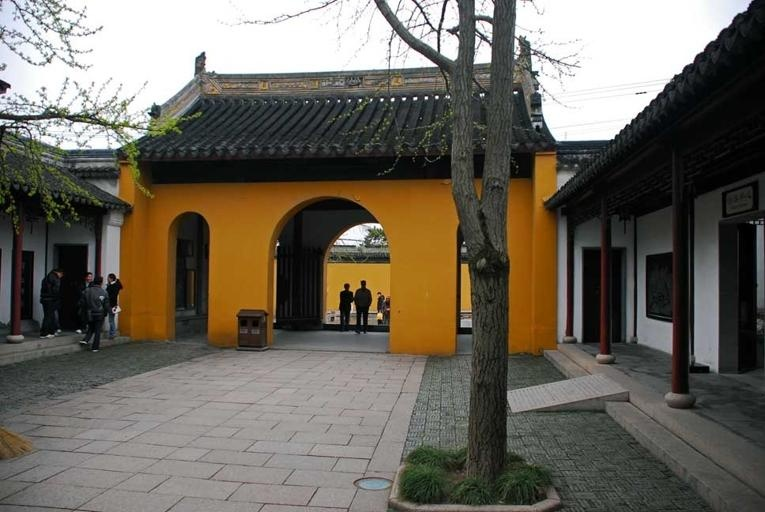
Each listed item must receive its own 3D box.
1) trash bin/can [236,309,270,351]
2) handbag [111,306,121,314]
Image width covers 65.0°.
[{"bbox_3d":[-2.786,1.558,12.521,0.675,1.131,0.876,-1,-2,9],"label":"trash bin/can"},{"bbox_3d":[-5.611,1.147,12.692,0.180,0.086,0.242,0,-5,-29],"label":"handbag"}]
